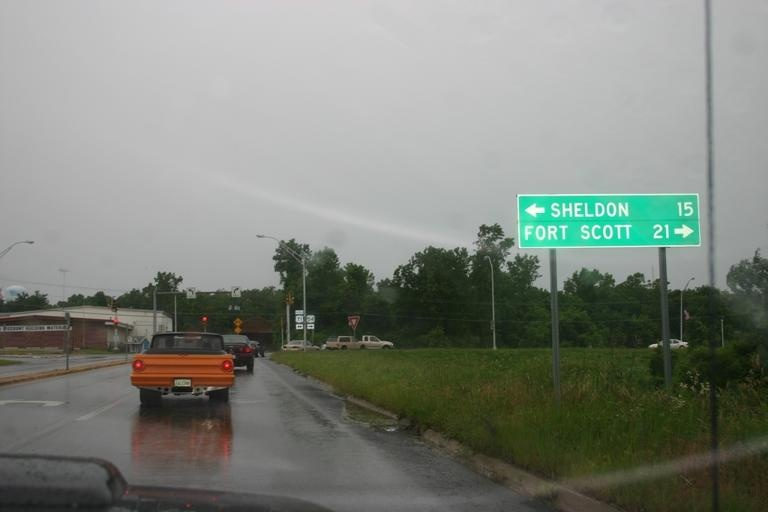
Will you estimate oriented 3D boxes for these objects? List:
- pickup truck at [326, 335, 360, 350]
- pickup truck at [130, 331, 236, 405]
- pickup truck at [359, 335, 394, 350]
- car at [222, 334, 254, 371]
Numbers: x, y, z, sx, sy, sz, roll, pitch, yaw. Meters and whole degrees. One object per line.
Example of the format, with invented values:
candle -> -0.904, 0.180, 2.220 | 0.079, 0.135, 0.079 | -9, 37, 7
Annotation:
pickup truck -> -4.003, 8.612, 80.413 | 2.691, 1.120, 1.495 | -5, -4, 1
pickup truck -> -5.393, 3.068, 22.980 | 1.807, 1.287, 3.107 | 1, -4, -4
pickup truck -> -0.795, 8.541, 81.839 | 2.625, 1.353, 3.913 | -1, -8, 7
car -> -6.895, 4.636, 39.694 | 1.650, 1.237, 3.805 | 1, -1, 0
